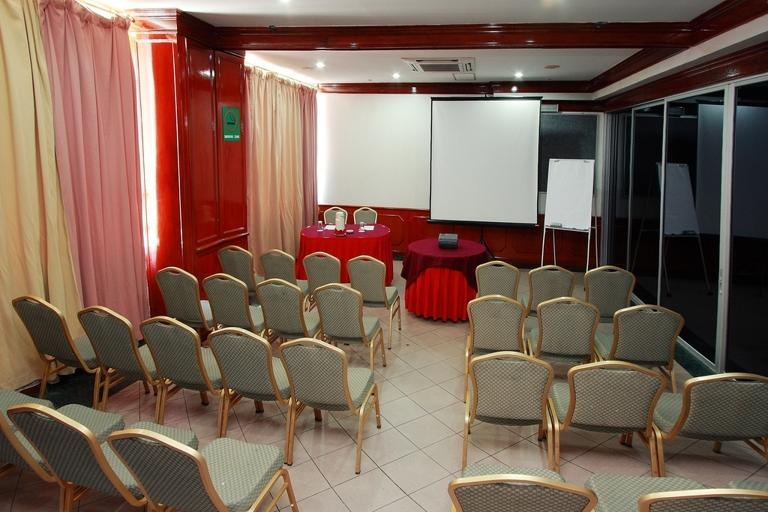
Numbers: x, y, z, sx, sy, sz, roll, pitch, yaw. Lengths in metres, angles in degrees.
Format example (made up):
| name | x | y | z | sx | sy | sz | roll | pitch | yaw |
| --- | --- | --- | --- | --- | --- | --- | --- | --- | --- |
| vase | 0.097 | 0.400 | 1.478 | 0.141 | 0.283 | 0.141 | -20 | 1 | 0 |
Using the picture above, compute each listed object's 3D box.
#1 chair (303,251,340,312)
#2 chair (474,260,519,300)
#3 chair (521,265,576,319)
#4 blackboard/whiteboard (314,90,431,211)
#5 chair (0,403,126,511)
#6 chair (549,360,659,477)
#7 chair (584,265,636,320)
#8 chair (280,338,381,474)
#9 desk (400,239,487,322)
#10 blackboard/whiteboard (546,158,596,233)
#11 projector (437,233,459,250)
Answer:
| name | x | y | z | sx | sy | sz | roll | pitch | yaw |
| --- | --- | --- | --- | --- | --- | --- | --- | --- | --- |
| chair | -0.764 | 0.244 | 5.989 | 0.457 | 0.777 | 0.528 | 3 | 19 | 7 |
| chair | 1.353 | 0.224 | 6.078 | 0.450 | 0.760 | 0.505 | 2 | 18 | 12 |
| chair | 1.866 | 0.332 | 5.871 | 0.529 | 0.915 | 0.576 | 2 | 35 | 12 |
| blackboard/whiteboard | -0.188 | -2.292 | 10.237 | 2.815 | 2.748 | 0.107 | 1 | 12 | 6 |
| chair | -2.215 | 1.406 | 3.406 | 0.552 | 0.949 | 0.593 | 15 | 41 | -5 |
| chair | 1.733 | 1.196 | 3.904 | 0.823 | 0.975 | 0.480 | 3 | 13 | 12 |
| chair | 2.515 | 0.417 | 5.556 | 0.441 | 0.775 | 0.539 | 4 | 24 | 19 |
| chair | -0.496 | 1.354 | 4.262 | 0.784 | 1.350 | 0.905 | 3 | 30 | 6 |
| desk | 0.964 | 0.440 | 7.376 | 1.359 | 0.930 | 1.346 | 4 | -2 | -27 |
| blackboard/whiteboard | 3.293 | -1.124 | 8.867 | 0.803 | 1.221 | 0.462 | 6 | 14 | 26 |
| projector | 0.927 | -0.202 | 7.293 | 0.311 | 0.205 | 0.212 | 2 | 34 | 6 |
